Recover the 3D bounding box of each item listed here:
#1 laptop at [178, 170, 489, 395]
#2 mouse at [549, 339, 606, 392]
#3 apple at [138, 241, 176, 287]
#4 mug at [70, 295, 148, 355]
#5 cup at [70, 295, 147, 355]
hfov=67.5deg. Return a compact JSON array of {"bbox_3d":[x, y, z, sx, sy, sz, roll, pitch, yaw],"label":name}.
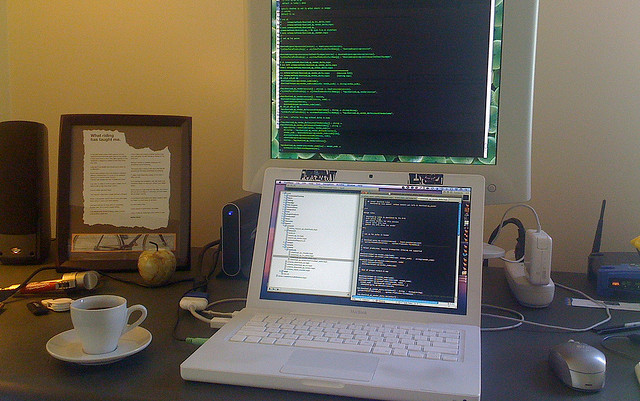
[{"bbox_3d":[0.110,0.199,1.128,0.593,0.345,0.517,3,15,10],"label":"laptop"},{"bbox_3d":[0.555,0.344,1.028,0.068,0.043,0.116,4,14,1],"label":"mouse"},{"bbox_3d":[-0.477,0.182,1.407,0.116,0.128,0.113,1,3,22],"label":"apple"},{"bbox_3d":[-0.483,0.285,1.098,0.164,0.100,0.118,1,2,-23],"label":"mug"},{"bbox_3d":[-0.484,0.284,1.099,0.162,0.100,0.118,1,3,-27],"label":"cup"}]
